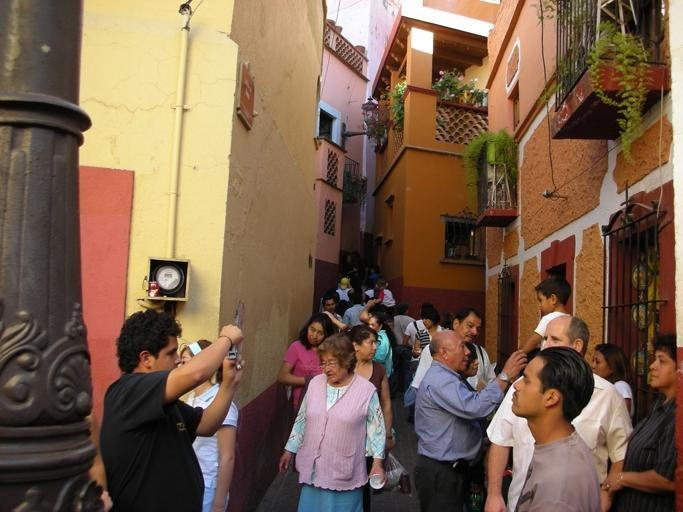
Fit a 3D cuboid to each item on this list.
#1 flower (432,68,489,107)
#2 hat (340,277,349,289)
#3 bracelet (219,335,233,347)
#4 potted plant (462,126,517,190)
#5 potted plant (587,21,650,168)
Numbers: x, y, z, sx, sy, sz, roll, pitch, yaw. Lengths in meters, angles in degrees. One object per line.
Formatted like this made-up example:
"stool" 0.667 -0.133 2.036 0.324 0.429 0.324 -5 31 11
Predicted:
"flower" 3.286 -4.561 16.263 1.416 1.014 0.677 2 -5 -4
"hat" 0.066 0.601 13.646 0.227 0.232 0.206 20 -9 -1
"bracelet" -0.577 0.427 2.956 0.075 0.055 0.047 5 -6 -30
"potted plant" 2.761 -1.791 11.101 0.549 1.114 1.384 3 -5 -11
"potted plant" 2.429 -1.467 5.192 0.476 1.258 0.623 0 -5 24
